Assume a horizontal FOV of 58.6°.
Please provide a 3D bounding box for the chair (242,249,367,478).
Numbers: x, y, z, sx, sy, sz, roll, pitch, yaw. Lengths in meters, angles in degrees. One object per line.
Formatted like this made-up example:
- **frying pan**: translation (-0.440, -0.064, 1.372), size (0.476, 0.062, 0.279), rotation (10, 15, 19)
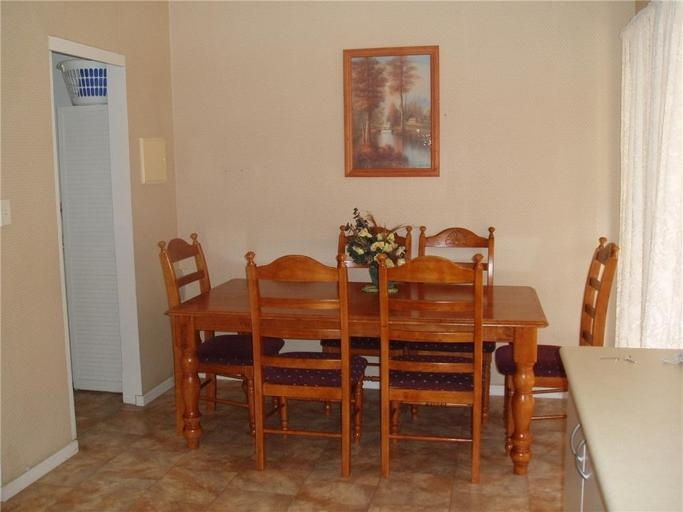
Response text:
- **chair**: translation (-0.198, 0.549, 3.620), size (0.680, 1.266, 0.844), rotation (-1, 13, 1)

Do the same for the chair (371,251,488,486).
- **chair**: translation (0.508, 0.550, 3.513), size (0.624, 1.259, 0.756), rotation (2, 14, 13)

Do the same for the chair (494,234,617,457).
- **chair**: translation (1.227, 0.540, 3.683), size (0.705, 1.158, 0.565), rotation (2, 5, 13)

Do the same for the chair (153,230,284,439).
- **chair**: translation (-0.734, 0.505, 3.980), size (0.818, 1.214, 0.697), rotation (3, 8, 2)
